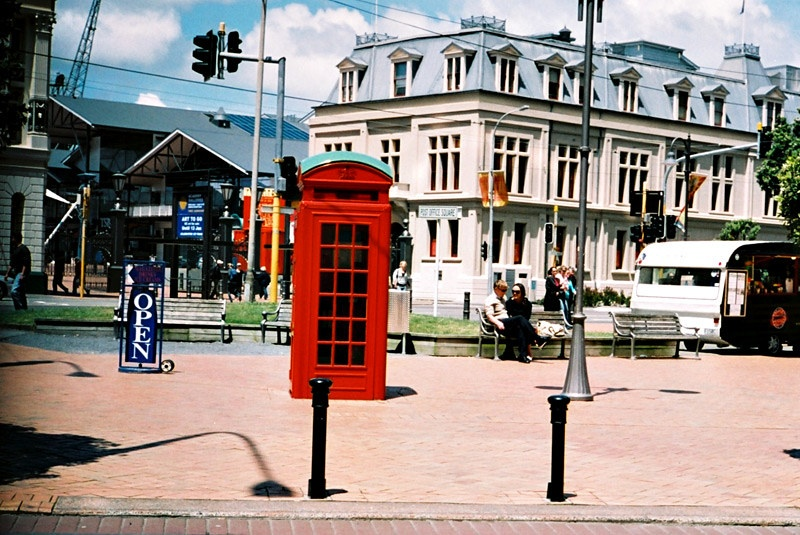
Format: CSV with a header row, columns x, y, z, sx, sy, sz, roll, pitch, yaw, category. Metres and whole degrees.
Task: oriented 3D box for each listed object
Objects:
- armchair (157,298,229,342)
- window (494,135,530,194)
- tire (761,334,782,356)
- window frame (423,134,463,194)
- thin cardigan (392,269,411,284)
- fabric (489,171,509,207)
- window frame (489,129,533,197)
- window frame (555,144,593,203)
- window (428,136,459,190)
x,y,z,sx,sy,sz,roll,pitch,yaw,category
-5.529,1.395,35.031,1.743,0.940,0.622,3,13,-8,armchair
5.897,-5.059,66.312,0.296,3.313,3.051,-18,18,-27,window
11.274,2.320,39.763,0.716,0.631,0.179,-7,13,-13,tire
2.315,-5.189,65.850,0.262,2.904,2.447,-3,4,-40,window frame
0.064,0.363,53.374,0.838,0.713,0.436,2,-6,-28,thin cardigan
4.543,-3.668,59.676,0.719,1.414,1.377,3,-1,3,fabric
5.943,-5.138,66.336,0.294,3.111,2.842,-21,21,-31,window frame
8.787,-5.034,68.810,1.689,2.475,0.692,4,-1,-37,window frame
2.270,-5.312,65.949,0.301,3.439,2.863,-3,4,-34,window
